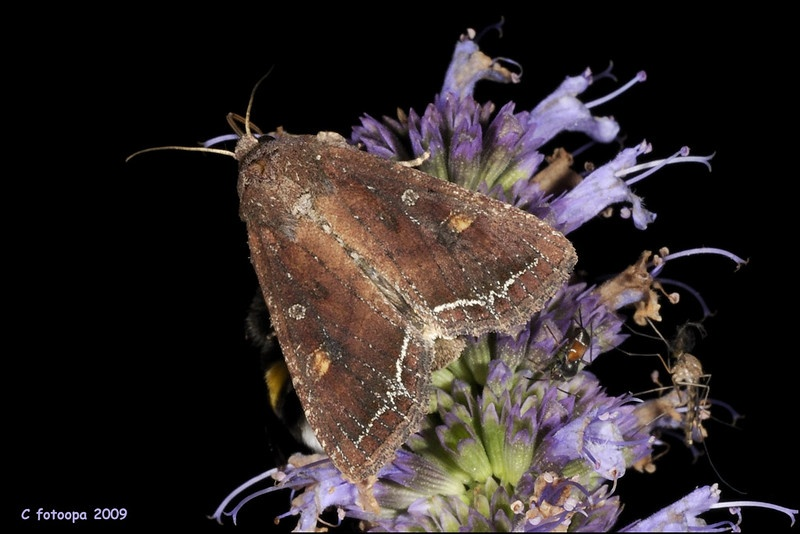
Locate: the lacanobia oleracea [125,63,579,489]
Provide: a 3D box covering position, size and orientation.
[{"bbox_3d":[-0.088,0.190,7.516,2.303,2.727,0.992,-5,8,3],"label":"lacanobia oleracea"}]
